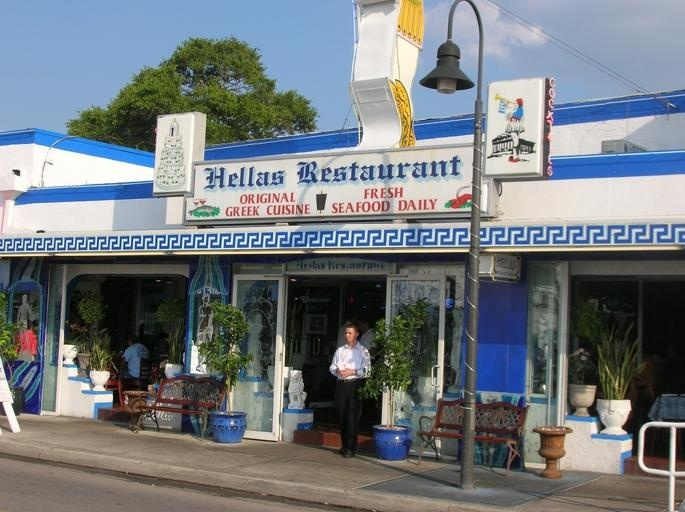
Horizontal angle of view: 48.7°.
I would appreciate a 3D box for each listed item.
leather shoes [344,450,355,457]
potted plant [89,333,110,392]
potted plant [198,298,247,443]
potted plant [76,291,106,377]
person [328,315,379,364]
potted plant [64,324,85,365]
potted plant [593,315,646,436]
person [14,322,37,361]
[{"bbox_3d":[0.131,3.592,13.701,0.075,0.100,0.227,3,-1,-8],"label":"leather shoes"},{"bbox_3d":[-5.766,2.482,17.673,0.508,1.329,0.469,-2,-7,7],"label":"potted plant"},{"bbox_3d":[-2.346,2.356,15.199,1.142,2.693,0.973,-6,-8,30],"label":"potted plant"},{"bbox_3d":[-6.328,1.986,18.558,0.671,2.016,0.673,2,-6,4],"label":"potted plant"},{"bbox_3d":[0.388,1.680,16.057,1.139,0.957,0.632,-4,-11,29],"label":"person"},{"bbox_3d":[-6.445,2.079,18.066,0.399,0.939,0.451,3,-6,-17],"label":"potted plant"},{"bbox_3d":[5.137,2.198,13.963,0.747,1.999,2.629,-1,-6,21],"label":"potted plant"},{"bbox_3d":[-7.657,2.141,18.192,0.547,1.142,0.140,-5,34,-27],"label":"person"}]
